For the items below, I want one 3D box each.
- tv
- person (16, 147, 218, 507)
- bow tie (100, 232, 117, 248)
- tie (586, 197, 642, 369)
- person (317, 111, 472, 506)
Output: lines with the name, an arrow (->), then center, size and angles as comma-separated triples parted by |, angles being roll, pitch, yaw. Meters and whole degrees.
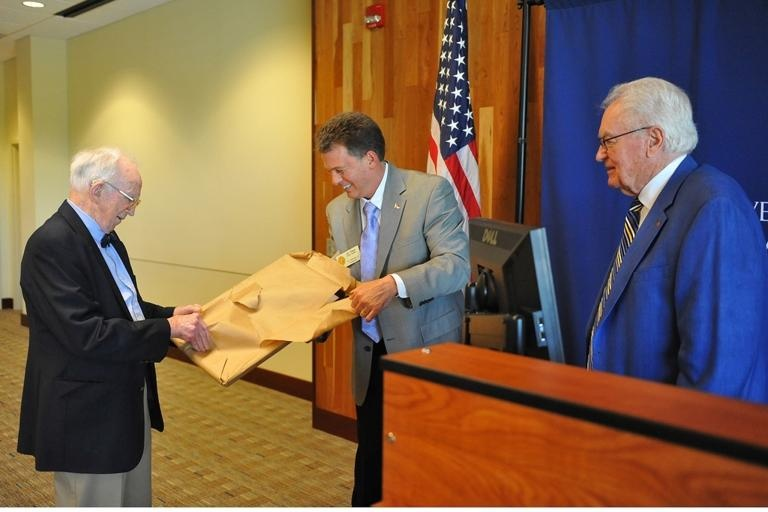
tv -> 0.525, 0.147, 2.614 | 0.267, 0.659, 0.714 | -7, 7, -16
person -> -1.243, 0.386, 2.796 | 0.778, 1.707, 0.531 | -2, 8, -18
bow tie -> -1.277, -0.074, 2.912 | 0.053, 0.019, 0.043 | -42, -7, 31
tie -> 0.909, 0.172, 2.606 | 0.098, 0.993, 0.133 | 7, 3, 1
person -> 0.033, 0.307, 3.053 | 0.740, 1.980, 0.677 | 1, 7, 7
